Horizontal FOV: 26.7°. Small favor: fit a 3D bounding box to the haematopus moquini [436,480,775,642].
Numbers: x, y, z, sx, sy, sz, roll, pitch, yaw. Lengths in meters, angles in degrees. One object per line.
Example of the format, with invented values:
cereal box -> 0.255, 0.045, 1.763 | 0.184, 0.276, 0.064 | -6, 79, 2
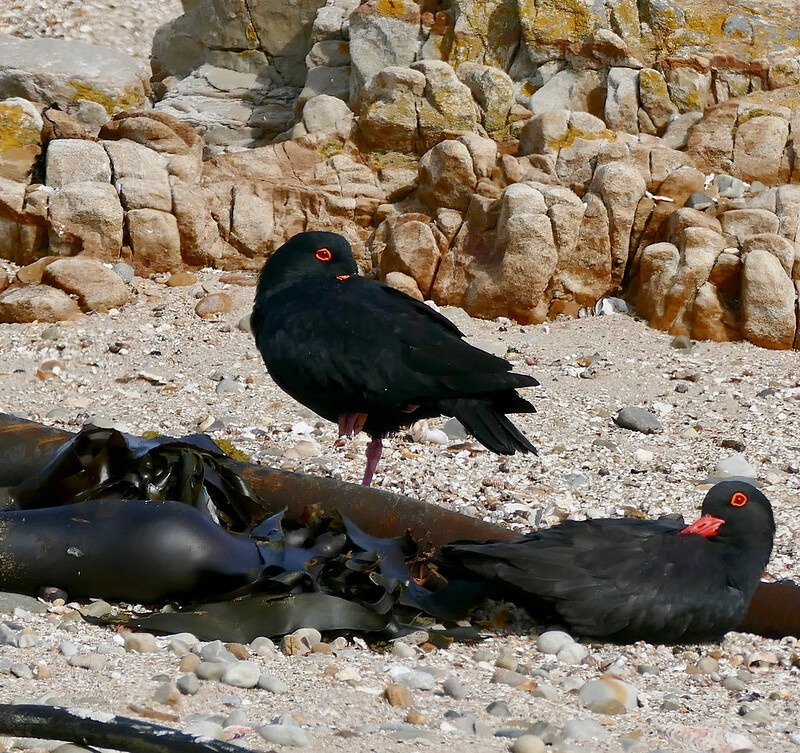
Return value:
haematopus moquini -> 1.118, 0.959, 9.525 | 1.951, 0.863, 0.786 | 4, 20, -1
